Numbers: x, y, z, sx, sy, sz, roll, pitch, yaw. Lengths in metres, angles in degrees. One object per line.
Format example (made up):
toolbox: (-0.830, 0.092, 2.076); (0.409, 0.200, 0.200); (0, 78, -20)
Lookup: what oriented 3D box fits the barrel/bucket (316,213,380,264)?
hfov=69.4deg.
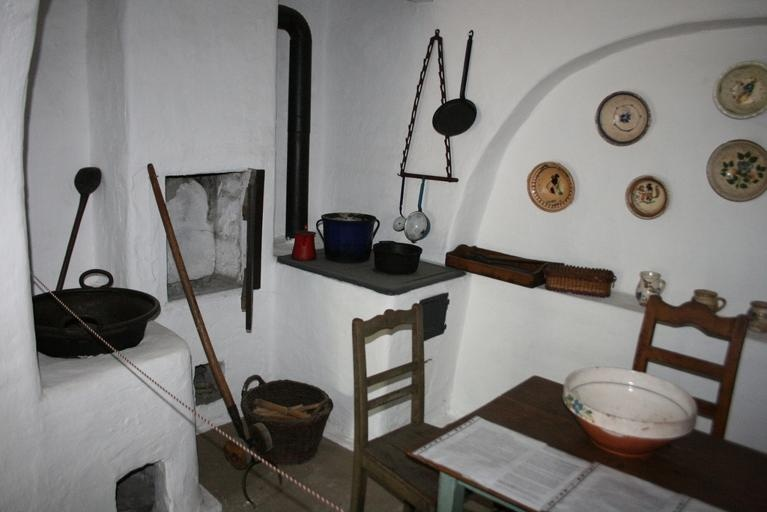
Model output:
barrel/bucket: (-0.245, -0.127, 3.887); (0.404, 0.271, 0.347); (1, 11, -1)

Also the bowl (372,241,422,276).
bowl: (0.088, 0.029, 3.741); (0.353, 0.176, 0.352); (2, -5, 0)

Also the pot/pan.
pot/pan: (-1.544, 0.310, 2.932); (0.542, 0.314, 0.698); (-8, 16, -38)

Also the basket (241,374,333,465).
basket: (-0.641, 1.000, 3.418); (0.553, 0.402, 0.542); (16, 21, 41)
